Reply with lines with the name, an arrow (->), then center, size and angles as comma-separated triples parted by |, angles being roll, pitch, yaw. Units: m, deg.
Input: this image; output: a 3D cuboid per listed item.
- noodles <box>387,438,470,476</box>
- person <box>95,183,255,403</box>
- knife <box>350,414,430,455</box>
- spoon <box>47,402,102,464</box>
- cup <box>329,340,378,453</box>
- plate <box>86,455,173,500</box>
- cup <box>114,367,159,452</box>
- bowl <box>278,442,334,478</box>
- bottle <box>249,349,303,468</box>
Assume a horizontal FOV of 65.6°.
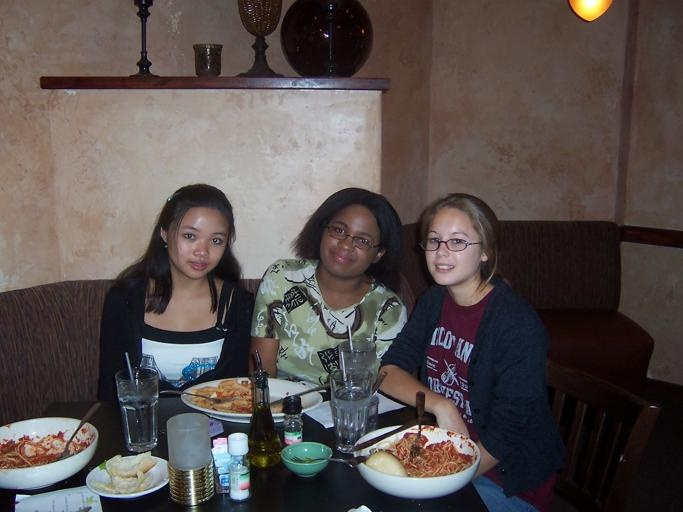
noodles -> 0.259, 0.565, 1.507 | 0.146, 0.072, 0.149 | 0, 2, -30
person -> -0.751, 0.218, 2.375 | 0.554, 1.217, 0.488 | -2, 8, -19
knife -> 0.134, 0.535, 1.579 | 0.192, 0.097, 0.178 | 1, 8, 6
spoon -> -0.789, 0.521, 1.572 | 0.041, 0.219, 0.033 | 24, -10, 5
cup -> 0.037, 0.441, 1.632 | 0.170, 0.348, 0.225 | 8, 23, 16
plate -> -0.572, 0.580, 1.410 | 0.210, 0.086, 0.141 | -3, 4, -15
cup -> -0.597, 0.449, 1.572 | 0.104, 0.249, 0.115 | 10, 7, 42
bowl -> -0.096, 0.551, 1.455 | 0.132, 0.076, 0.114 | -2, 6, -18
bottle -> -0.225, 0.472, 1.563 | 0.123, 0.351, 0.139 | 9, 11, 40
